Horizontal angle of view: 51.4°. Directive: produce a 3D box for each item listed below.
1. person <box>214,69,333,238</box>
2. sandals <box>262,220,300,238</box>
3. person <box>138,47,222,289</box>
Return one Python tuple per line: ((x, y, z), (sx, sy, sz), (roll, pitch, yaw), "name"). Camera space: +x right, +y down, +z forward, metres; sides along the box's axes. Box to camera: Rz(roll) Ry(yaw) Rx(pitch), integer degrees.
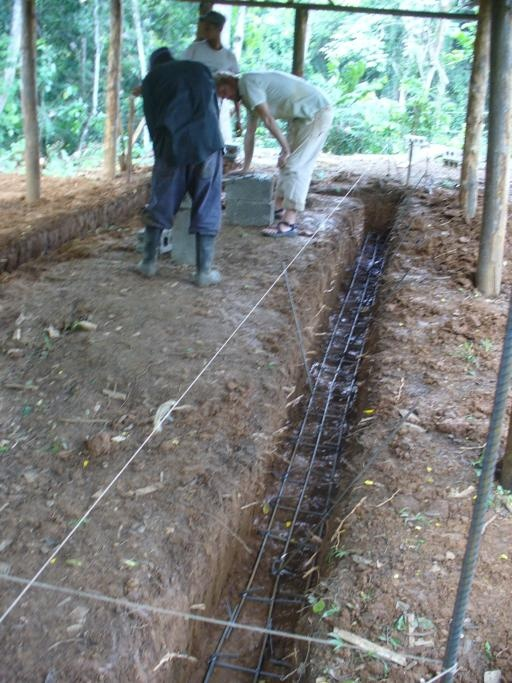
((0.146, -1.465, 4.321), (0.866, 1.203, 1.041), (5, 16, 7), "person")
((0.211, -0.933, 4.512), (0.346, 0.137, 0.130), (0, 31, -9), "sandals")
((-0.451, -1.040, 3.274), (0.481, 1.435, 0.496), (0, 17, -10), "person")
